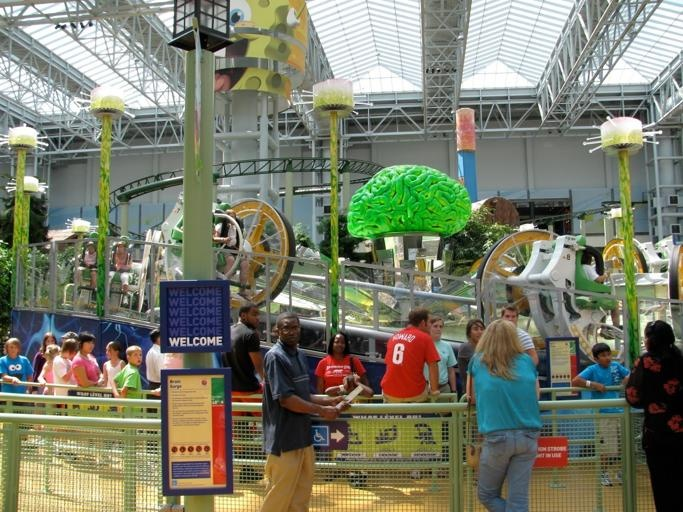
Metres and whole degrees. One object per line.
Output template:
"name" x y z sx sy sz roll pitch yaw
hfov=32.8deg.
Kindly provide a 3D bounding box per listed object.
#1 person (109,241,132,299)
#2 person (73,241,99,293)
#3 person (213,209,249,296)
"person" -5.085 0.279 26.833 0.494 1.180 0.128 -2 -8 16
"person" -5.916 0.284 27.044 0.507 1.177 0.161 -3 -8 23
"person" -2.536 -0.072 26.846 0.794 2.117 0.834 1 -8 -7
